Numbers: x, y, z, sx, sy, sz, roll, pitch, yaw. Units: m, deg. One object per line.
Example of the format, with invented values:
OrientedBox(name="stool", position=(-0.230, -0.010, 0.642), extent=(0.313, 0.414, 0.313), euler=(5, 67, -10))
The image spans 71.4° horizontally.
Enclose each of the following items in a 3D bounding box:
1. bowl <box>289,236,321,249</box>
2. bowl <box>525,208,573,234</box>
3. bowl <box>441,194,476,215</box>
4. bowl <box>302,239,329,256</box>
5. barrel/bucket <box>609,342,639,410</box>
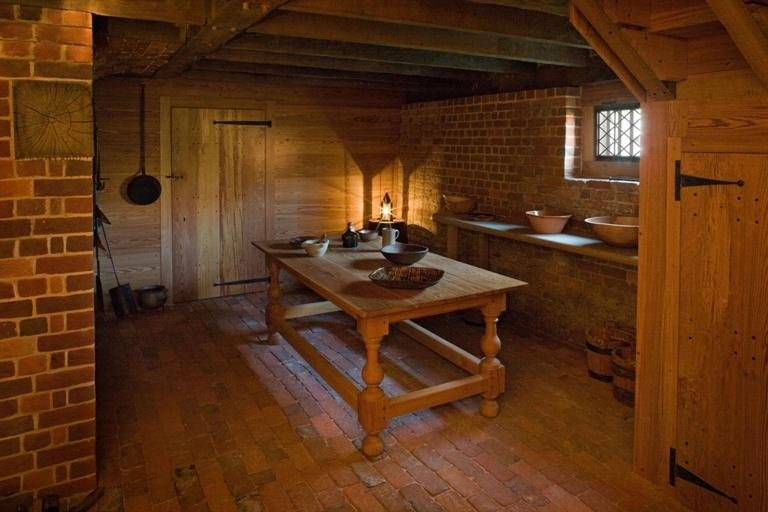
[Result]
OrientedBox(name="bowl", position=(-0.875, -0.168, 5.607), extent=(0.212, 0.034, 0.214), euler=(-1, 13, 0))
OrientedBox(name="bowl", position=(1.682, -0.357, 5.505), extent=(0.405, 0.211, 0.442), euler=(-2, 11, 0))
OrientedBox(name="bowl", position=(0.921, -0.651, 6.579), extent=(0.421, 0.124, 0.331), euler=(0, 3, -7))
OrientedBox(name="bowl", position=(-0.690, -0.086, 5.157), extent=(0.263, 0.111, 0.182), euler=(-1, 1, -20))
OrientedBox(name="barrel/bucket", position=(2.002, 0.983, 4.498), extent=(0.177, 0.415, 0.399), euler=(3, 13, 22))
